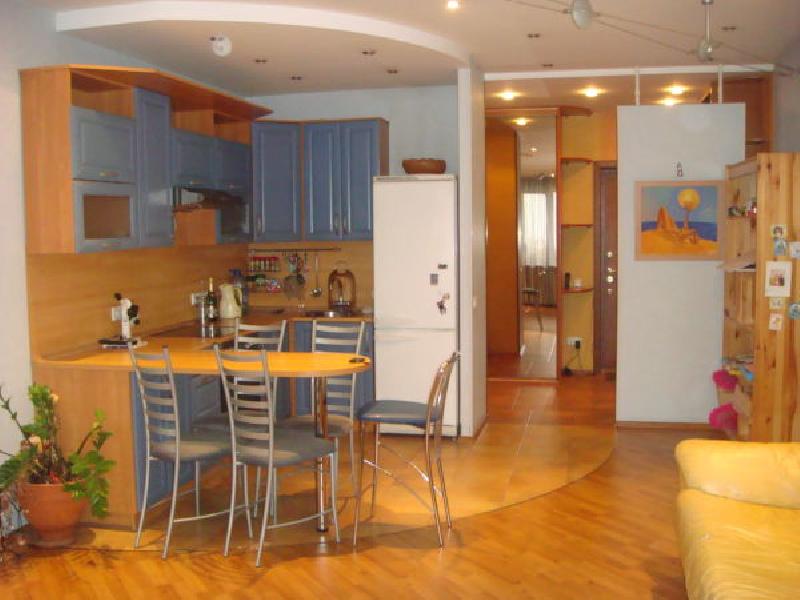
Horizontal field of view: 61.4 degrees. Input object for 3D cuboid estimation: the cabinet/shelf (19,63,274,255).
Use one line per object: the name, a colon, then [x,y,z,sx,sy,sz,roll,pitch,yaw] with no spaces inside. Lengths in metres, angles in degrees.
cabinet/shelf: [-2.069,-1.134,5.361,0.659,1.005,1.724,1,6,17]

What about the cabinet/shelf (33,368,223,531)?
cabinet/shelf: [-2.081,0.867,5.502,0.916,1.513,1.646,2,4,13]

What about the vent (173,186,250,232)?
vent: [-1.675,-0.798,6.049,0.247,0.444,0.812,3,9,20]

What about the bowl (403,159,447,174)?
bowl: [0.214,-1.243,6.311,0.225,0.087,0.227,-2,1,0]

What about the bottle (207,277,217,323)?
bottle: [-1.868,-0.024,6.640,0.104,0.373,0.438,-4,9,-16]

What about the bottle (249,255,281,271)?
bottle: [-1.483,-0.394,7.300,0.298,0.164,0.189,3,-13,-2]

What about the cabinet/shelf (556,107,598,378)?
cabinet/shelf: [2.216,-0.693,8.519,0.493,3.324,0.736,2,9,21]

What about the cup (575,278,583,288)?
cup: [2.295,-0.227,8.677,0.118,0.113,0.076,1,-1,-16]

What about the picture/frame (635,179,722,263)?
picture/frame: [2.657,-0.765,6.352,0.798,0.787,0.028,0,6,16]
